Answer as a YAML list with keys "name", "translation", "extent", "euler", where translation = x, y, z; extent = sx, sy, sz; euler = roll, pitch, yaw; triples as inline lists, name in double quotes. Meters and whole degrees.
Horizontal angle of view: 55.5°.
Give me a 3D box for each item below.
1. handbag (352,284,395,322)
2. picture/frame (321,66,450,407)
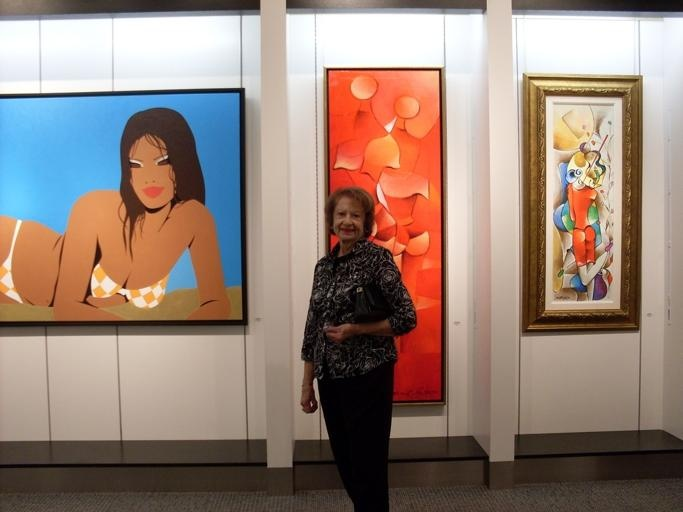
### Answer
- name: "handbag"
  translation: [0.210, 0.341, 4.503]
  extent: [0.298, 0.295, 0.160]
  euler: [-1, -7, -5]
- name: "picture/frame"
  translation: [0.465, -0.513, 6.219]
  extent: [0.999, 0.066, 3.367]
  euler: [7, -34, 12]
